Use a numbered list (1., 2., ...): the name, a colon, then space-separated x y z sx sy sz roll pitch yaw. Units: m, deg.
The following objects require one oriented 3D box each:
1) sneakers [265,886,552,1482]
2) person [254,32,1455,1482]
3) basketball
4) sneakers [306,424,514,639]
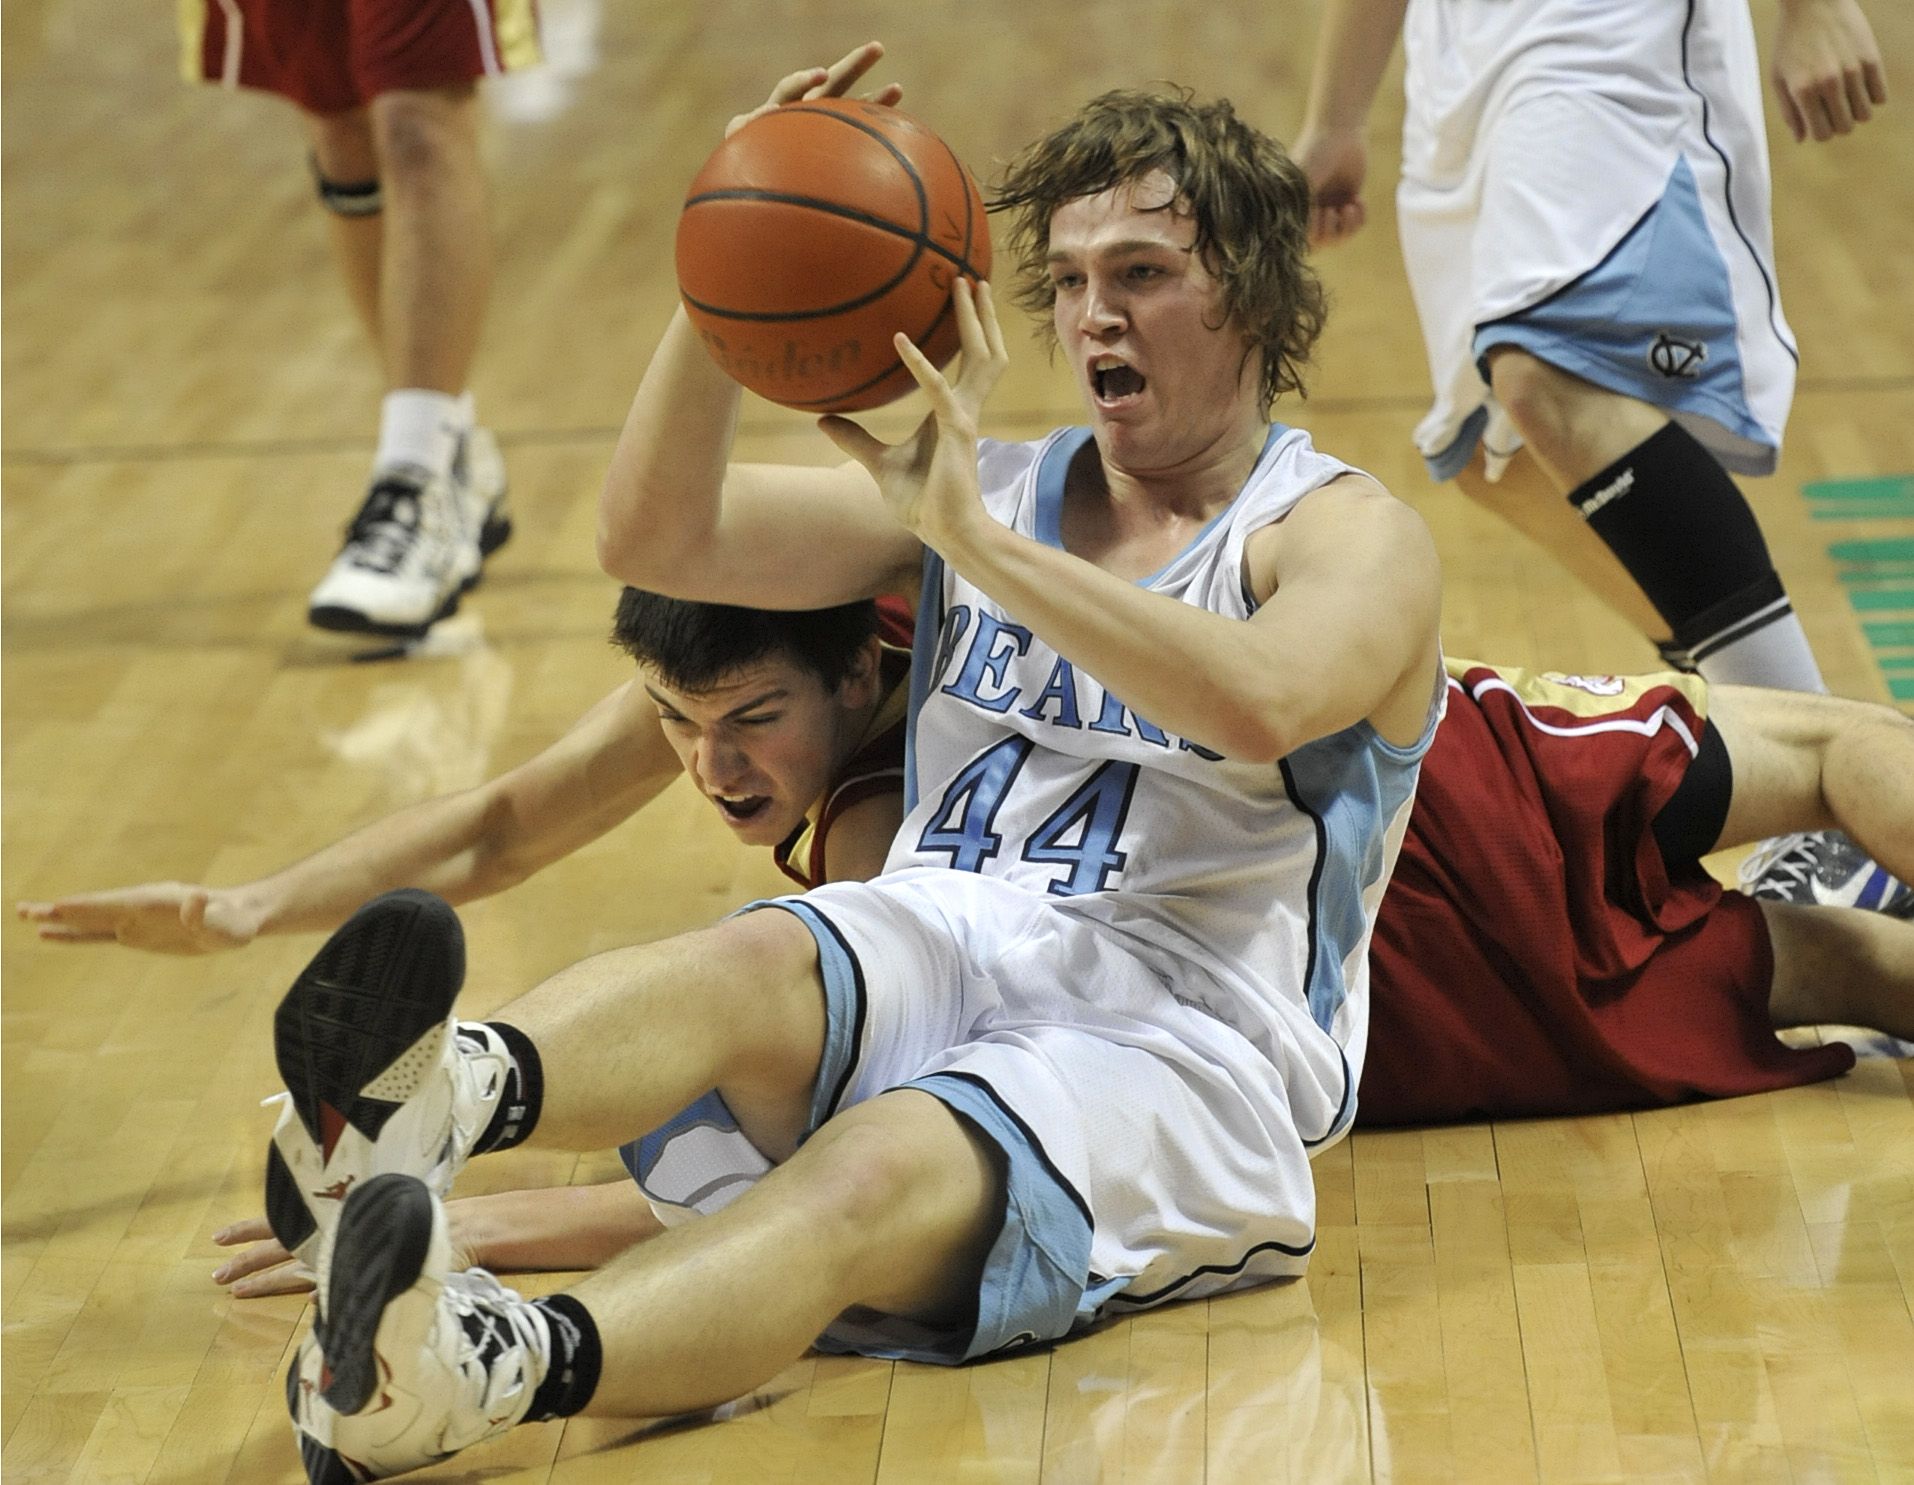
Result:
1. sneakers: -0.386 0.349 1.340 0.211 0.476 0.166 -7 55 -33
2. person: -0.125 -0.062 1.866 0.731 1.122 1.440 17 31 40
3. basketball: -0.105 -0.405 1.561 0.243 0.270 0.248 3 17 -4
4. sneakers: -0.793 -0.333 2.828 0.160 0.227 0.504 6 22 9
